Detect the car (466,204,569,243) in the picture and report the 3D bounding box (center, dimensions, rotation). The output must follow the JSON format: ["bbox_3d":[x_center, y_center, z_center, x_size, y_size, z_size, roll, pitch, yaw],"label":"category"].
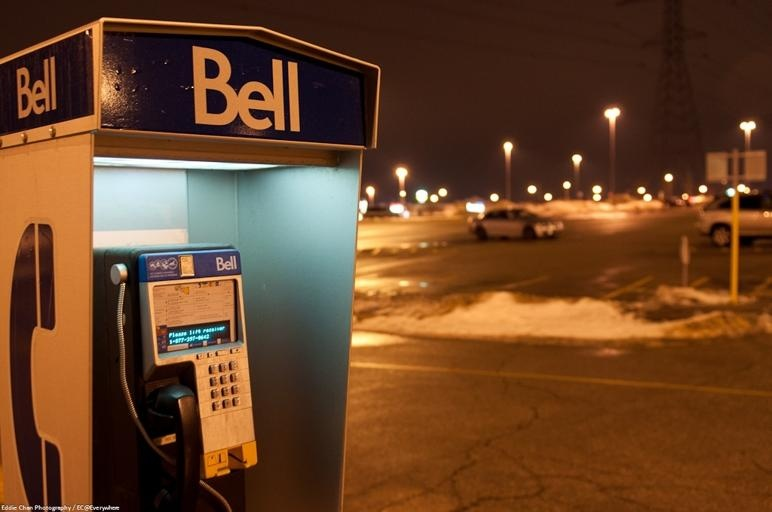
[{"bbox_3d":[6.297,-1.521,31.917,3.954,1.303,1.793,-1,4,25],"label":"car"}]
